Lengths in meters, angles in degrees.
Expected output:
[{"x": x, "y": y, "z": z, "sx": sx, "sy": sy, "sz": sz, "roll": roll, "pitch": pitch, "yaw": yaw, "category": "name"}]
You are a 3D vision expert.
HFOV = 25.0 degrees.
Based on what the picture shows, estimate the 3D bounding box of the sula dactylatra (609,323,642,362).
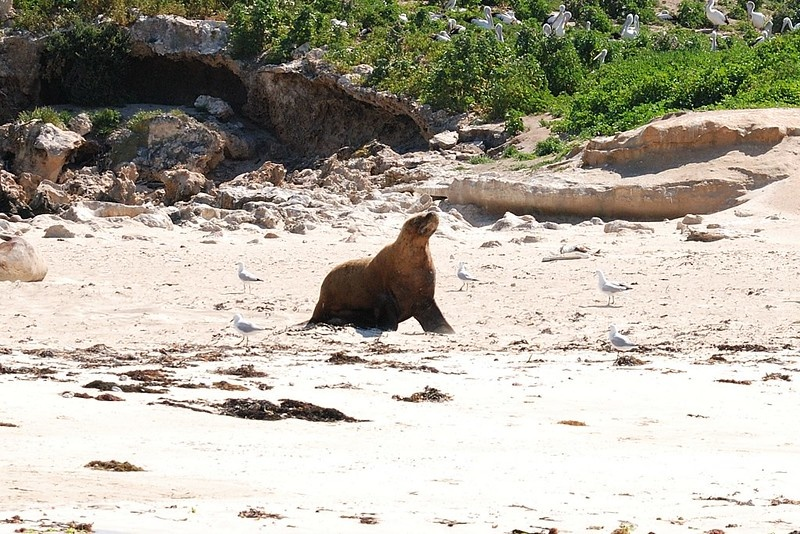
[{"x": 6.269, "y": 2.079, "z": 50.342, "sx": 0.935, "sy": 0.909, "sz": 0.468, "roll": 2, "pitch": 16, "yaw": 9, "category": "sula dactylatra"}]

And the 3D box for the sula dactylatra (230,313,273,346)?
[{"x": -4.208, "y": 1.752, "z": 51.179, "sx": 0.964, "sy": 0.833, "sz": 1.164, "roll": 2, "pitch": 8, "yaw": -4, "category": "sula dactylatra"}]

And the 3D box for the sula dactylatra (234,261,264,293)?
[{"x": -4.488, "y": 0.309, "z": 54.409, "sx": 0.741, "sy": 0.892, "sz": 1.486, "roll": 1, "pitch": 8, "yaw": -5, "category": "sula dactylatra"}]

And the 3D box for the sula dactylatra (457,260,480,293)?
[{"x": 2.070, "y": 0.307, "z": 54.293, "sx": 0.625, "sy": 0.761, "sz": 1.552, "roll": 3, "pitch": 7, "yaw": 2, "category": "sula dactylatra"}]

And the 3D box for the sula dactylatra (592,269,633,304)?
[{"x": 6.291, "y": 0.637, "z": 52.664, "sx": 1.412, "sy": 0.965, "sz": 0.480, "roll": 2, "pitch": 7, "yaw": 27, "category": "sula dactylatra"}]
